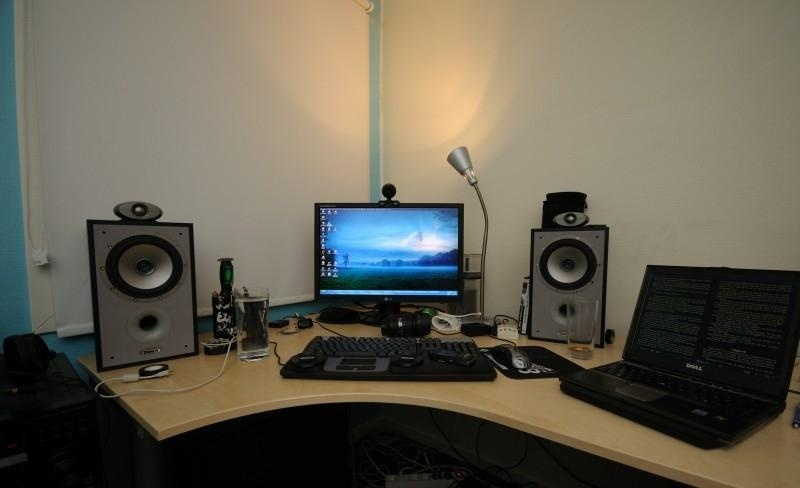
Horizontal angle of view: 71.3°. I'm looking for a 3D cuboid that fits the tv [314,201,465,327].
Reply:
[{"bbox_3d":[-0.049,0.081,2.628,0.621,0.479,0.166,0,-2,1],"label":"tv"}]
